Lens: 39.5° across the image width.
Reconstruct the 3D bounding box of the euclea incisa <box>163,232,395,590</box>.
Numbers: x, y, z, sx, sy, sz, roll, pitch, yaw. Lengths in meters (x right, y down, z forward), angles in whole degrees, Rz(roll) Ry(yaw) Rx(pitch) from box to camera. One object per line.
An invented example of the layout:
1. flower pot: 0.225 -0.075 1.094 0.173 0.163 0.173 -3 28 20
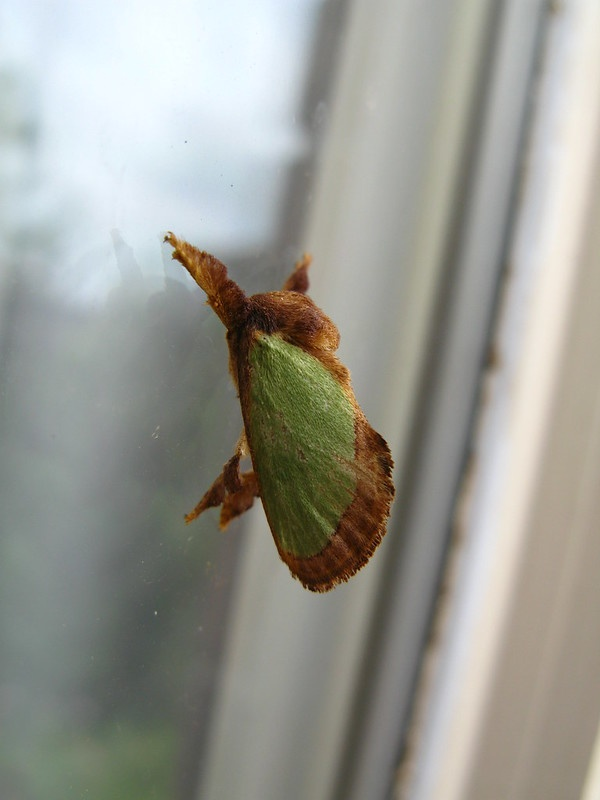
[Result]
1. euclea incisa: -0.009 0.006 0.421 0.134 0.150 0.067 17 13 35
